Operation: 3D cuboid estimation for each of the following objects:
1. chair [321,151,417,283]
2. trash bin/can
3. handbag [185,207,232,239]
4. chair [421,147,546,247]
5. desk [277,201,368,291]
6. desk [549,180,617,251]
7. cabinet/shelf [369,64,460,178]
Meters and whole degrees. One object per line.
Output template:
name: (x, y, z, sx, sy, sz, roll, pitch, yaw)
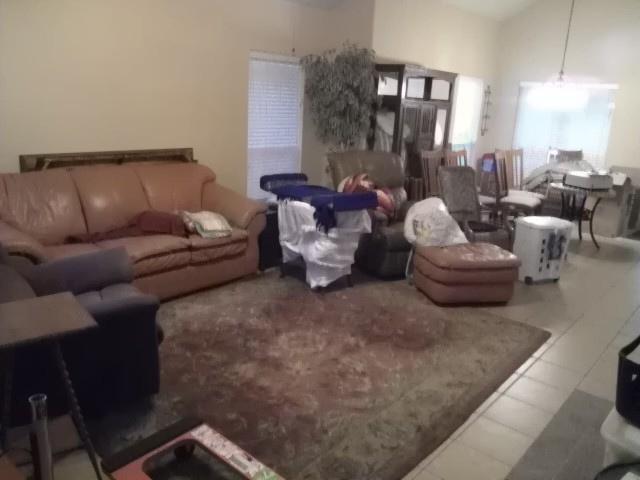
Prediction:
chair: (0.644, -0.363, 5.478, 1.099, 1.593, 1.339, -7, 13, -30)
trash bin/can: (2.395, 0.131, 5.024, 0.519, 0.679, 0.497, 6, 20, 7)
handbag: (-1.043, -0.142, 4.390, 0.295, 0.105, 0.308, -1, 28, -27)
chair: (2.065, -0.532, 5.871, 0.498, 0.990, 1.352, 7, 17, 31)
desk: (0.048, -0.026, 4.664, 0.720, 0.892, 1.152, -10, 21, -33)
desk: (3.814, -0.334, 6.617, 0.568, 0.674, 0.594, 16, 11, 41)
cabinet/shelf: (1.199, -1.564, 6.148, 0.471, 1.533, 1.494, 14, 17, 37)
